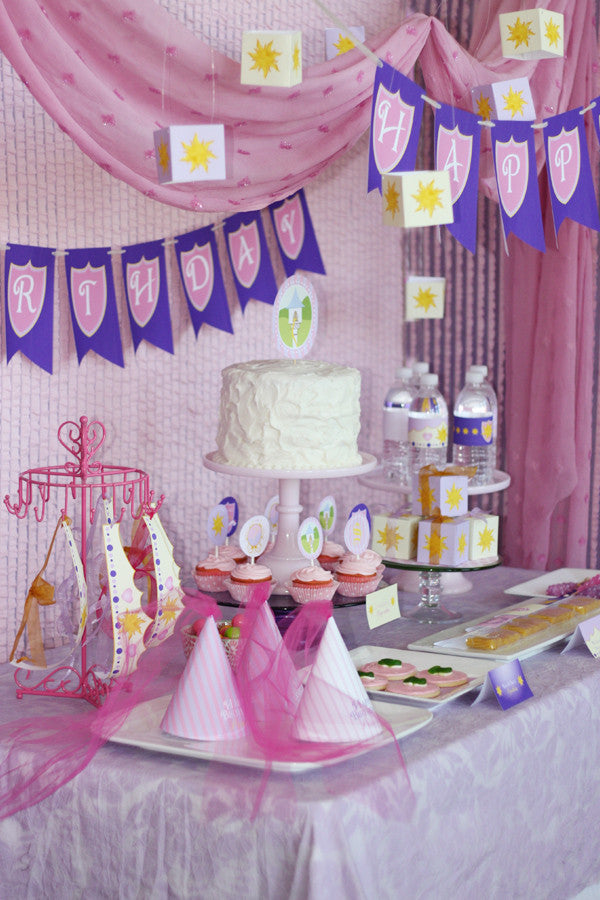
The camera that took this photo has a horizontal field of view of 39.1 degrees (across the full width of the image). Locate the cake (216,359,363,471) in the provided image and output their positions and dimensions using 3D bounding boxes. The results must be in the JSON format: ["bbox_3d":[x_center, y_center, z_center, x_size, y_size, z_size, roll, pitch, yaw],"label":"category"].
[{"bbox_3d":[-0.017,-0.057,1.466,0.204,0.127,0.206,2,5,5],"label":"cake"}]
